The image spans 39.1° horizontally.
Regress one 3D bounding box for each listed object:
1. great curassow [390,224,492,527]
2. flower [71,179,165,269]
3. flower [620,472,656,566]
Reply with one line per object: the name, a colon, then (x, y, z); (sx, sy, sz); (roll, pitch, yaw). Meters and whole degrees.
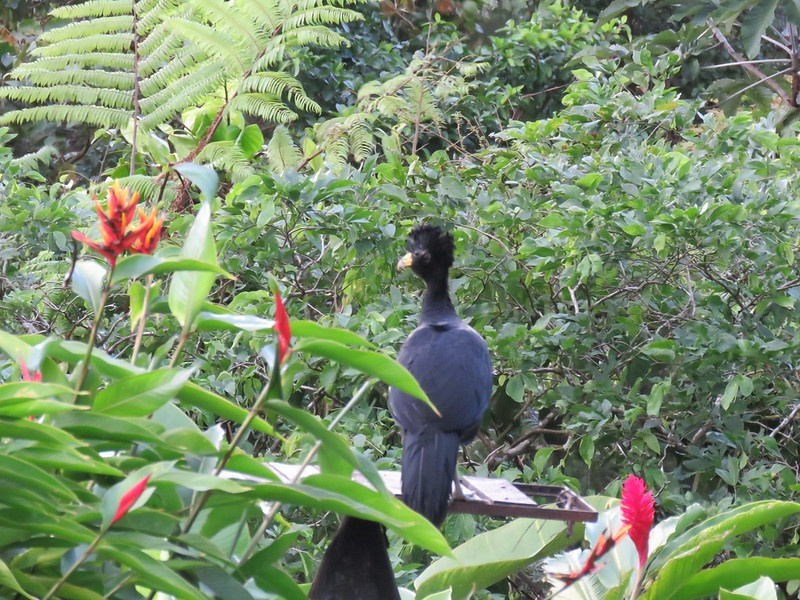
great curassow: (0.155, 0.259, 4.384); (0.444, 1.071, 0.869); (8, 6, 0)
flower: (-0.733, -0.221, 3.139); (0.224, 0.250, 0.252); (6, 17, 15)
flower: (0.682, 0.635, 3.297); (0.099, 0.277, 0.268); (9, 6, 12)
